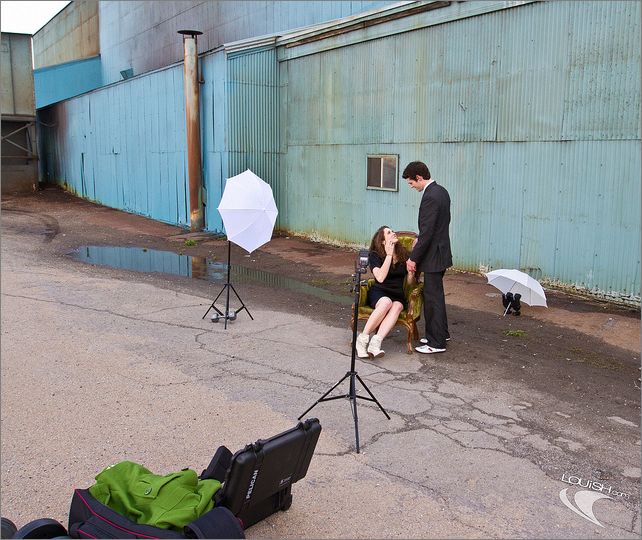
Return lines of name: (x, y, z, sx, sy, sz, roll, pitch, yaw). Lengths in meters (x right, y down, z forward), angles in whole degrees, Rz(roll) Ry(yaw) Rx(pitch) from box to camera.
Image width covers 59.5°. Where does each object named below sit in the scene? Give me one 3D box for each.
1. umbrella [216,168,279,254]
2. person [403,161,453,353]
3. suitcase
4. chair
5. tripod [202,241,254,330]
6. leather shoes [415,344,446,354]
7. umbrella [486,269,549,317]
umbrella: (-0.928, -0.746, 7.058, 0.715, 0.972, 0.688, 1, 10, -8)
person: (1.309, -0.147, 6.828, 0.591, 2.286, 0.382, 4, 9, 15)
suitcase: (-0.405, 1.393, 3.841, 0.747, 0.803, 0.466, -4, 11, -31)
chair: (0.848, 0.235, 6.819, 0.578, 1.675, 0.898, 5, 4, 16)
tripod: (-1.572, 0.270, 9.460, 0.990, 2.058, 1.033, 0, 9, -7)
leather shoes: (1.349, 0.968, 6.840, 0.316, 0.163, 0.138, 5, 0, 5)
umbrella: (2.832, 0.290, 8.038, 0.612, 0.229, 0.603, 42, -16, -16)
